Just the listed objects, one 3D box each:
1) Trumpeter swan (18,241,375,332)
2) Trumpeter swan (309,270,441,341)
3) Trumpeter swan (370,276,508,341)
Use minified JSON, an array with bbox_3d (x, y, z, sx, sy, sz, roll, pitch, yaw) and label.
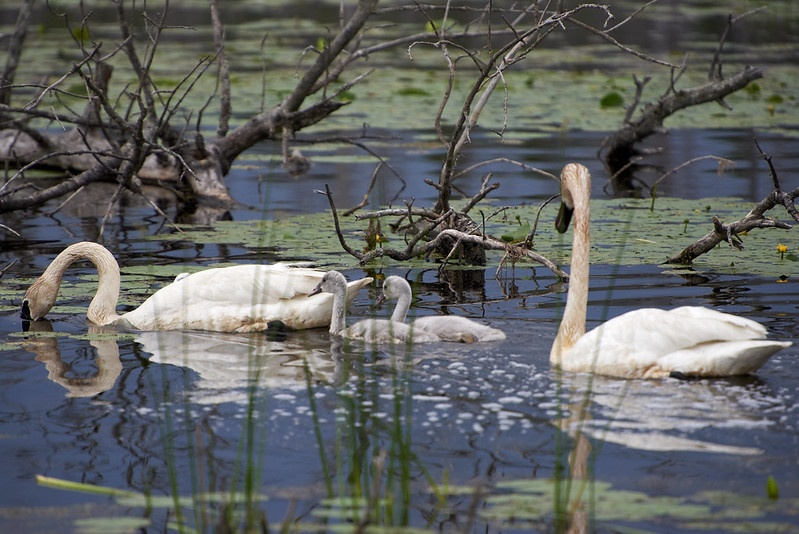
[{"bbox_3d":[-2.365,0.278,11.486,4.526,1.084,1.261,-5,5,15],"label":"Trumpeter swan"},{"bbox_3d":[-0.103,0.485,10.613,1.879,0.752,0.609,1,4,25],"label":"Trumpeter swan"},{"bbox_3d":[0.486,0.509,10.616,1.619,0.666,0.505,-1,10,29],"label":"Trumpeter swan"}]
